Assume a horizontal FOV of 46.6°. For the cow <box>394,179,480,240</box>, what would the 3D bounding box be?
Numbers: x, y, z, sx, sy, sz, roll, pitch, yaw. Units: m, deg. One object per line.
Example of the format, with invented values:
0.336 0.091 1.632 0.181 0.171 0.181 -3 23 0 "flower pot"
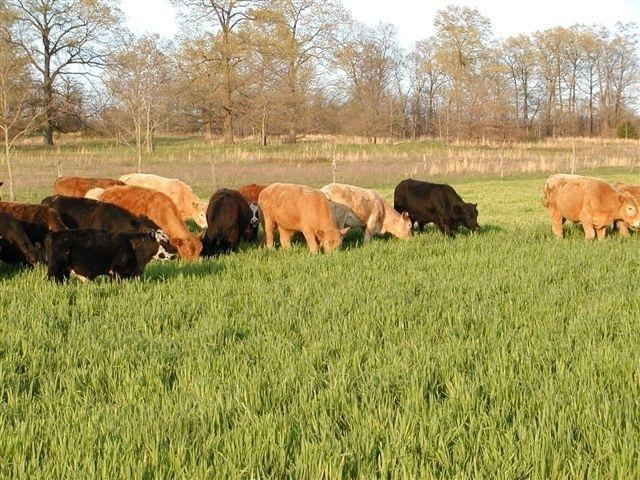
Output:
2.066 -0.696 15.220 0.793 1.255 2.349 -9 13 -33 "cow"
